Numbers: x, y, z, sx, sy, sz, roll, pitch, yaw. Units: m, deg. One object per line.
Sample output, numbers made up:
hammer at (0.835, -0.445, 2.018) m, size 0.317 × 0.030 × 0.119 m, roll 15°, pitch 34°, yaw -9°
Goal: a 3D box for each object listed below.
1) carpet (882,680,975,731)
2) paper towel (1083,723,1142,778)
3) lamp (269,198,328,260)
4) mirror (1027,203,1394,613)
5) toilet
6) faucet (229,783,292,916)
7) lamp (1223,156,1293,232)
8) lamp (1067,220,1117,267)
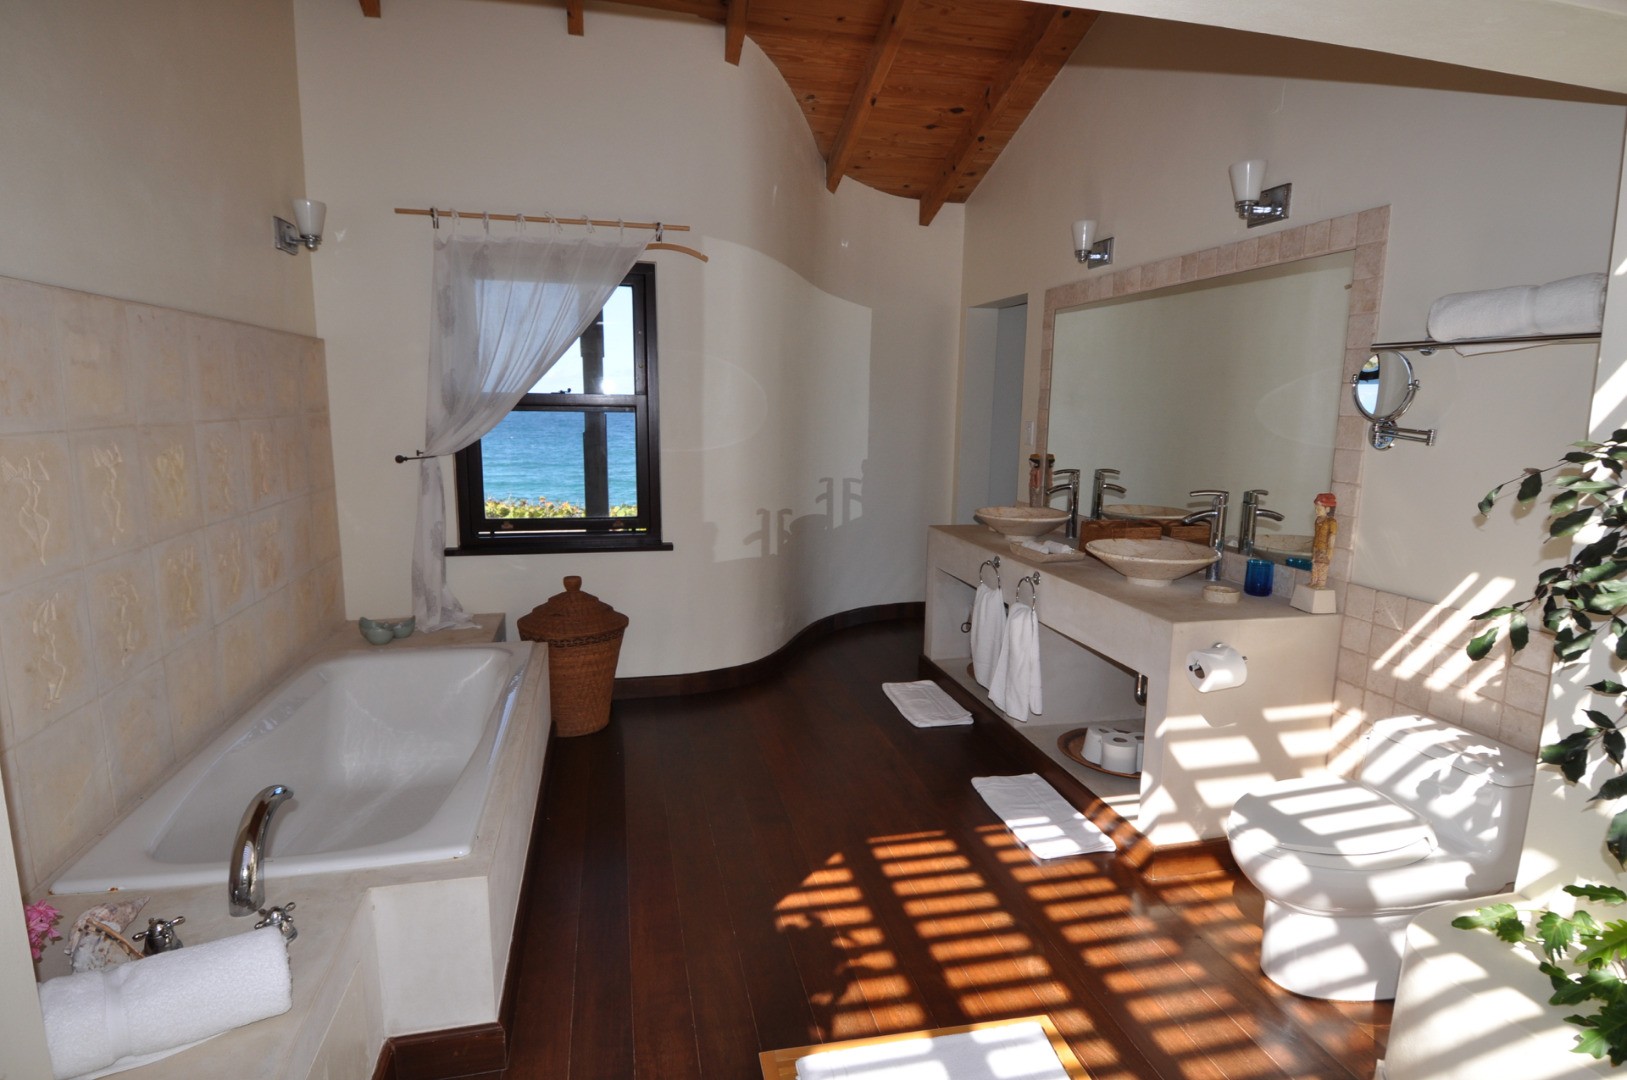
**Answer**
carpet at (0.552, 0.806, 5.378) m, size 0.324 × 0.063 × 0.618 m, roll -2°, pitch 10°, yaw -18°
paper towel at (1.265, 0.872, 4.547) m, size 0.234 × 0.148 × 0.295 m, roll 1°, pitch 10°, yaw -3°
lamp at (-2.198, -1.332, 4.567) m, size 0.239 × 0.280 × 0.197 m, roll 1°, pitch 15°, yaw 8°
mirror at (1.661, -0.536, 4.404) m, size 0.094 × 1.325 × 1.827 m, roll 0°, pitch 5°, yaw -22°
toilet at (1.817, 1.028, 3.543) m, size 0.899 × 0.713 × 0.606 m, roll -5°, pitch 10°, yaw -12°
faucet at (-1.609, 0.884, 3.100) m, size 0.118 × 0.237 × 0.445 m, roll 11°, pitch 33°, yaw -18°
lamp at (1.696, -1.304, 4.150) m, size 0.233 × 0.255 × 0.258 m, roll 0°, pitch 4°, yaw -15°
lamp at (1.298, -1.354, 5.055) m, size 0.206 × 0.225 × 0.225 m, roll 2°, pitch 3°, yaw -18°
